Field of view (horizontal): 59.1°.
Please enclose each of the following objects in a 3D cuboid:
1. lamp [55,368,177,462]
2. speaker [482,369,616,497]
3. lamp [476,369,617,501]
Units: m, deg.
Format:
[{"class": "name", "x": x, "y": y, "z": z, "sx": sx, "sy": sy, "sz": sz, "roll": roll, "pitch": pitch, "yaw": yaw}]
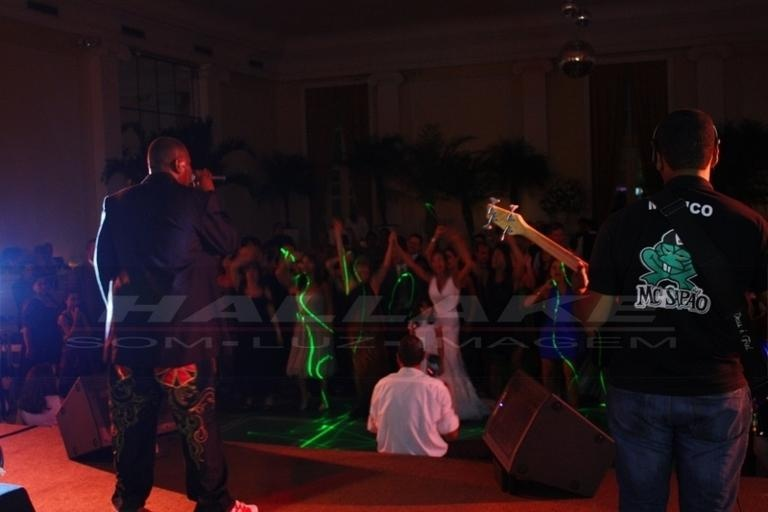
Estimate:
[{"class": "lamp", "x": -2.279, "y": 1.274, "z": 5.662, "sx": 0.762, "sy": 0.543, "sz": 0.560, "roll": -12, "pitch": -2, "yaw": -11}, {"class": "speaker", "x": 1.029, "y": 1.189, "z": 4.803, "sx": 0.799, "sy": 0.739, "sz": 0.845, "roll": -9, "pitch": -7, "yaw": -6}, {"class": "lamp", "x": 1.134, "y": 1.299, "z": 4.906, "sx": 0.631, "sy": 0.741, "sz": 0.842, "roll": 12, "pitch": -1, "yaw": -4}]
